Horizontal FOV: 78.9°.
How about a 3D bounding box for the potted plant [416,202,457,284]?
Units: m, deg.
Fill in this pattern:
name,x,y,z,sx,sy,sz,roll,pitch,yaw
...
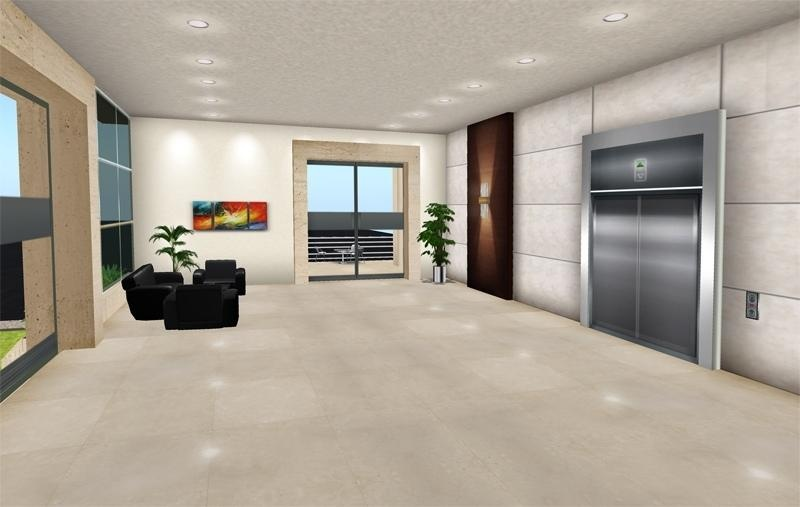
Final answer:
name,x,y,z,sx,sy,sz,roll,pitch,yaw
potted plant,1.050,-0.339,13.663,1.055,2.169,1.021,0,9,1
